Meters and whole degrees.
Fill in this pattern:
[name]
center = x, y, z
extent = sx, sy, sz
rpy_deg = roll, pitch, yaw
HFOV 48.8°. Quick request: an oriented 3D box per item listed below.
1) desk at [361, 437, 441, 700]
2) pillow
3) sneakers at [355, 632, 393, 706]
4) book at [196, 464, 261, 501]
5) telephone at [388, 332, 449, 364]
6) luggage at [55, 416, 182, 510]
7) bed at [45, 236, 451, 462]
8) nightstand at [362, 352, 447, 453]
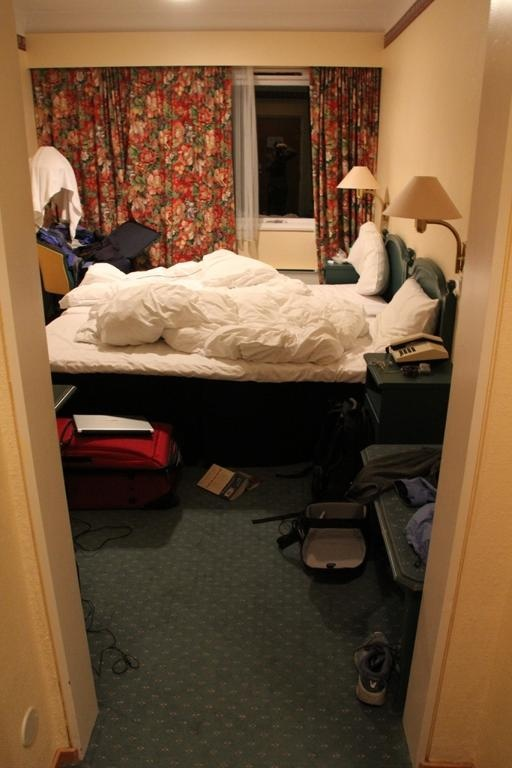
[desk]
center = 0.426, 0.550, 1.671
extent = 0.197, 0.289, 0.635
rpy_deg = 3, 30, 10
[pillow]
center = 0.809, -0.490, 3.458
extent = 0.508, 0.532, 0.925
rpy_deg = -1, 35, 2
[sneakers]
center = 0.353, 0.830, 1.702
extent = 0.094, 0.099, 0.265
rpy_deg = 10, 14, 14
[book]
center = -0.163, 0.485, 2.794
extent = 0.170, 0.063, 0.175
rpy_deg = 17, 34, 24
[telephone]
center = 0.739, -0.154, 2.582
extent = 0.171, 0.075, 0.188
rpy_deg = -2, 18, 4
[luggage]
center = -0.625, 0.391, 2.534
extent = 0.449, 0.226, 0.463
rpy_deg = 0, 19, -7
[bed]
center = -0.141, -0.187, 3.122
extent = 1.472, 0.800, 1.531
rpy_deg = -1, 28, -2
[nightstand]
center = 0.677, 0.078, 2.589
extent = 0.343, 0.262, 0.359
rpy_deg = 0, 17, 4
